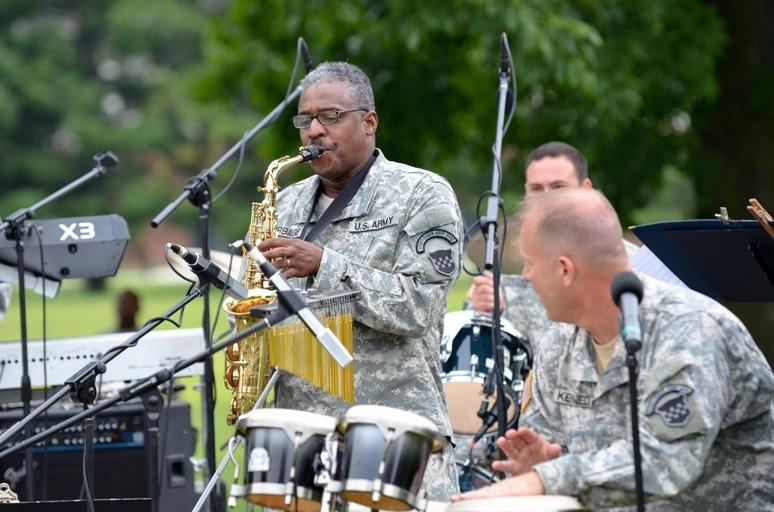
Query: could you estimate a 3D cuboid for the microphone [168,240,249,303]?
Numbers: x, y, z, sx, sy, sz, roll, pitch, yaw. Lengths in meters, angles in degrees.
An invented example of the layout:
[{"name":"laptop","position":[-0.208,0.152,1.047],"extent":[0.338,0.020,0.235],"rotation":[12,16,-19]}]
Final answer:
[{"name":"microphone","position":[-1.932,0.205,20.438],"extent":[0.991,0.272,0.234],"rotation":[32,-47,-25]}]
